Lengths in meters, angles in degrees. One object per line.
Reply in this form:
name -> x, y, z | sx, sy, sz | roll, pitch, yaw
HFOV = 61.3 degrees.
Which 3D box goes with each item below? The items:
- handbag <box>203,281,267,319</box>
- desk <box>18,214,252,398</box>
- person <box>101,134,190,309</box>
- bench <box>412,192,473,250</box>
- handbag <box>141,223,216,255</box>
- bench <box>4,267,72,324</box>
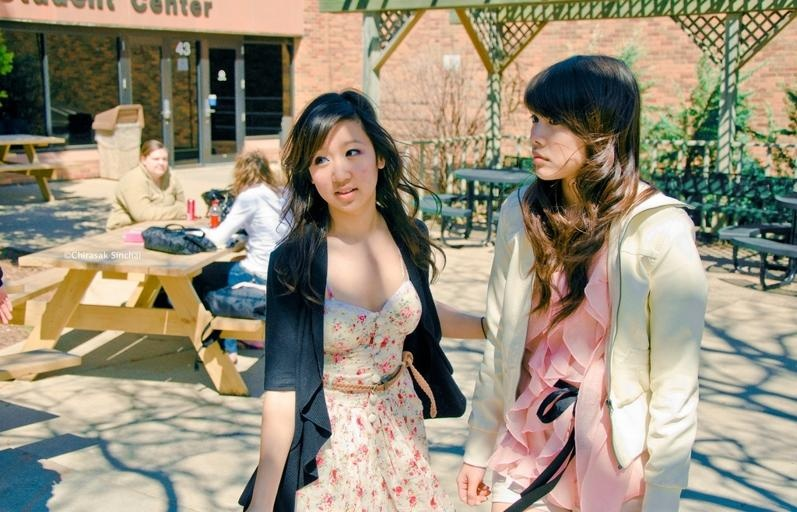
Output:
handbag -> -1.450, 0.400, 6.011 | 0.544, 0.169, 0.427 | 1, 2, 23
desk -> -2.267, 0.367, 6.046 | 1.635, 0.794, 1.663 | 5, 13, 5
person -> -2.959, -0.605, 7.951 | 0.878, 1.422, 0.875 | 13, 18, 22
bench -> 0.737, -0.705, 11.279 | 1.002, 0.498, 1.405 | 0, 15, 5
handbag -> -2.008, -0.146, 6.042 | 0.453, 0.186, 0.345 | 4, 6, 26
bench -> -3.237, 0.376, 6.091 | 0.178, 0.121, 0.522 | 10, 24, 1
